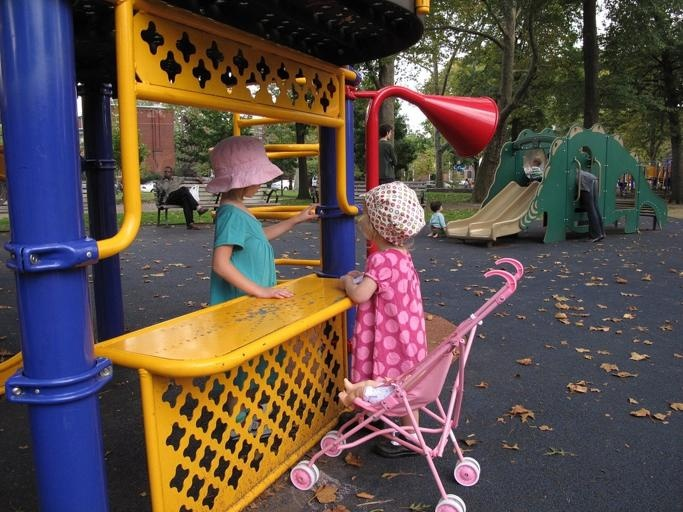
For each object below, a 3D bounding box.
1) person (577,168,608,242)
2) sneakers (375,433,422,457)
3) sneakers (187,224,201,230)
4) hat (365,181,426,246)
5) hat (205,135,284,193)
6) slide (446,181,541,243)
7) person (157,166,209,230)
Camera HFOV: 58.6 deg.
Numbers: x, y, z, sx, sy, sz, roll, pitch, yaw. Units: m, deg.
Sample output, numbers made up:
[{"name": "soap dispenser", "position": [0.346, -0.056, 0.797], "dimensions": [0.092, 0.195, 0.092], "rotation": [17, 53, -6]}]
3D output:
[{"name": "person", "position": [4.823, -1.007, 11.714], "dimensions": [0.555, 1.377, 0.814], "rotation": [5, 12, 23]}, {"name": "sneakers", "position": [0.346, 1.139, 3.698], "dimensions": [0.273, 0.118, 0.168], "rotation": [-2, 19, 2]}, {"name": "sneakers", "position": [-3.515, -0.693, 14.360], "dimensions": [0.308, 0.145, 0.114], "rotation": [1, 10, 6]}, {"name": "hat", "position": [0.309, -0.240, 3.554], "dimensions": [0.336, 0.375, 0.155], "rotation": [1, 11, 0]}, {"name": "hat", "position": [-0.597, -0.549, 3.700], "dimensions": [0.357, 0.226, 0.360], "rotation": [-17, 12, -4]}, {"name": "slide", "position": [3.069, -0.833, 11.982], "dimensions": [1.815, 1.165, 1.050], "rotation": [-9, 10, -42]}, {"name": "person", "position": [-4.068, -1.494, 15.202], "dimensions": [0.803, 1.420, 1.863], "rotation": [-7, 14, -35]}]
